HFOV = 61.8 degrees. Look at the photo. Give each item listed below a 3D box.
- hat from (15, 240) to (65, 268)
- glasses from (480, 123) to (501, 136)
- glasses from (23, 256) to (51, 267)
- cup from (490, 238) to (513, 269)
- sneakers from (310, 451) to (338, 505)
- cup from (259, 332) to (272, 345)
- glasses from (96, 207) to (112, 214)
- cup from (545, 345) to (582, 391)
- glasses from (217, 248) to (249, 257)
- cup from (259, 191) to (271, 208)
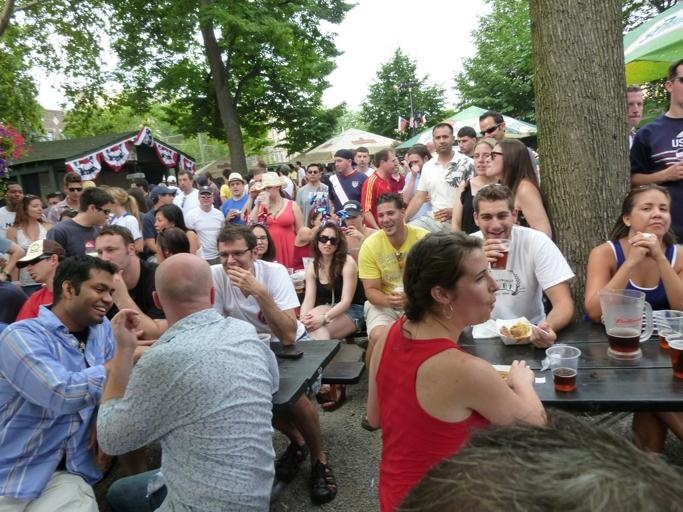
[{"bbox_3d":[-2.505,-0.016,4.782,0.223,0.165,0.346,-14,-5,36],"label":"hat"},{"bbox_3d":[1.726,-1.445,6.558,0.137,0.040,0.137,-38,11,-29],"label":"glasses"},{"bbox_3d":[-2.528,0.050,4.672,0.240,0.075,0.091,-4,7,6],"label":"glasses"},{"bbox_3d":[1.056,-0.012,3.830,0.141,0.202,0.177,-5,8,13],"label":"cup"},{"bbox_3d":[-0.121,1.563,3.935,0.143,0.134,0.349,-4,-5,-1],"label":"sneakers"},{"bbox_3d":[-0.525,0.589,3.966,0.105,0.090,0.093,3,14,-1],"label":"cup"},{"bbox_3d":[-2.628,-0.490,6.345,0.107,0.089,0.211,-5,6,5],"label":"glasses"},{"bbox_3d":[1.226,0.611,3.144,0.165,0.202,0.264,-4,7,19],"label":"cup"},{"bbox_3d":[-0.847,-0.017,4.430,0.236,0.048,0.082,-4,7,13],"label":"glasses"},{"bbox_3d":[-1.031,-0.745,7.622,0.159,0.186,0.060,4,52,1],"label":"cup"}]
